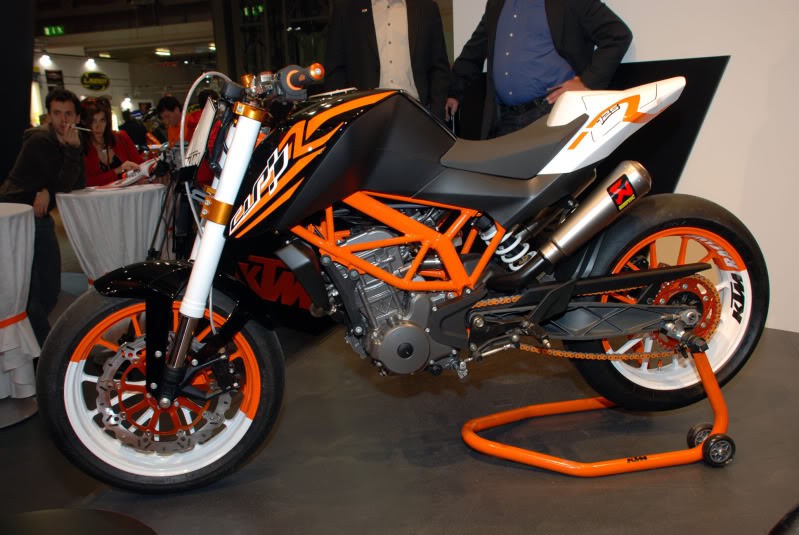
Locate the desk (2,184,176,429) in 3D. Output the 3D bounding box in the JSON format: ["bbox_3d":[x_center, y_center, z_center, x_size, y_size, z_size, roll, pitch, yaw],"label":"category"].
[{"bbox_3d":[-1.987,0.128,4.283,1.336,1.544,1.279,-2,5,-5],"label":"desk"}]
